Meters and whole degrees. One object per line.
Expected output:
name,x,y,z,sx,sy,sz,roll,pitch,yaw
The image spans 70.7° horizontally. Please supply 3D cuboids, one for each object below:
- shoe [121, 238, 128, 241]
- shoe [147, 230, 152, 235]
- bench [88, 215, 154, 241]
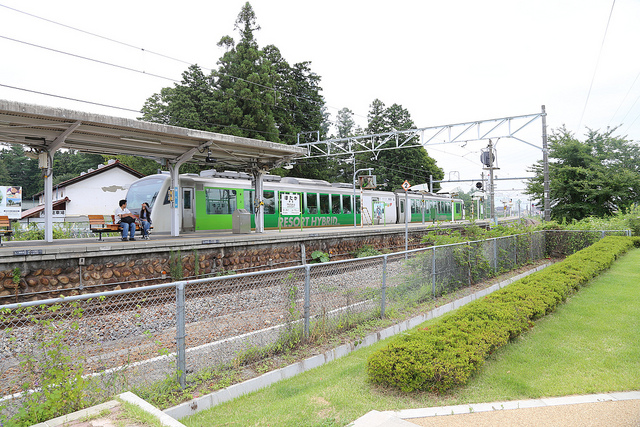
shoe,-6.895,0.911,16.001,0.163,0.091,0.276,-7,14,-23
shoe,-6.717,0.702,17.773,0.183,0.077,0.178,4,23,15
bench,-7.335,0.495,16.493,0.626,0.791,2.283,-1,0,27
